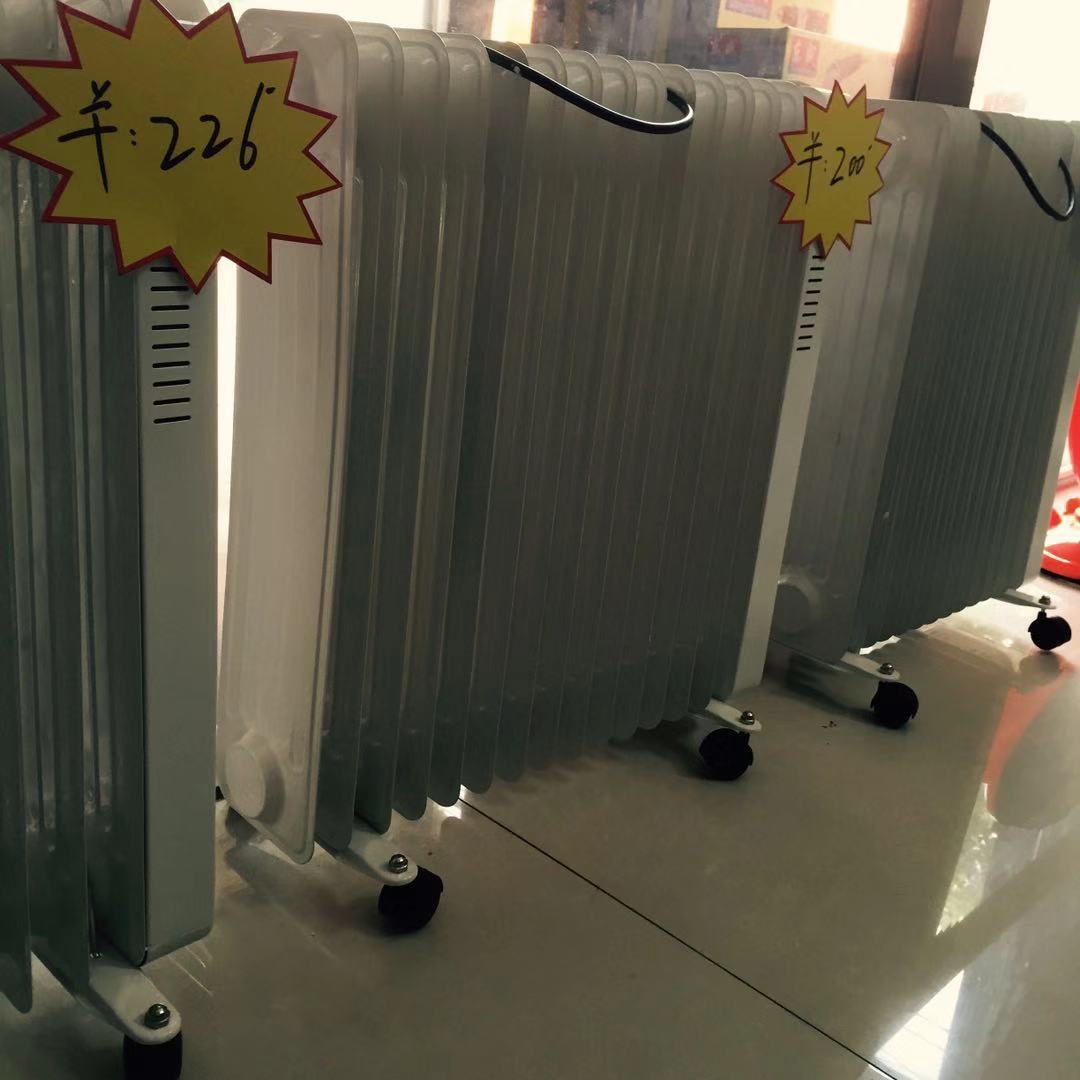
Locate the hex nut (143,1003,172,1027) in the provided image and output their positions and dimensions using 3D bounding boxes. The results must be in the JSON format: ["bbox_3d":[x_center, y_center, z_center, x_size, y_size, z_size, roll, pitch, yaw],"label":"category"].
[{"bbox_3d":[-0.339,0.420,0.825,0.015,0.006,0.015,28,7,37],"label":"hex nut"}]

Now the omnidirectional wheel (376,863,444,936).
[{"bbox_3d":[-0.142,0.403,1.062,0.058,0.081,0.025,18,-19,-29],"label":"omnidirectional wheel"}]

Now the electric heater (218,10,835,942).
[{"bbox_3d":[0.012,-0.063,1.147,0.795,0.973,0.282,-12,28,-37],"label":"electric heater"}]

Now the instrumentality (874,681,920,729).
[{"bbox_3d":[0.606,0.284,1.602,0.058,0.089,0.085,-6,10,6],"label":"instrumentality"}]

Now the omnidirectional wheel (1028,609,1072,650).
[{"bbox_3d":[1.071,0.193,1.965,0.030,0.054,0.062,-16,2,-29],"label":"omnidirectional wheel"}]

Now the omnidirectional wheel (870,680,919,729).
[{"bbox_3d":[0.605,0.286,1.603,0.059,0.082,0.093,-8,53,11],"label":"omnidirectional wheel"}]

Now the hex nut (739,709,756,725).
[{"bbox_3d":[0.319,0.273,1.438,0.017,0.008,0.020,19,26,-18],"label":"hex nut"}]
